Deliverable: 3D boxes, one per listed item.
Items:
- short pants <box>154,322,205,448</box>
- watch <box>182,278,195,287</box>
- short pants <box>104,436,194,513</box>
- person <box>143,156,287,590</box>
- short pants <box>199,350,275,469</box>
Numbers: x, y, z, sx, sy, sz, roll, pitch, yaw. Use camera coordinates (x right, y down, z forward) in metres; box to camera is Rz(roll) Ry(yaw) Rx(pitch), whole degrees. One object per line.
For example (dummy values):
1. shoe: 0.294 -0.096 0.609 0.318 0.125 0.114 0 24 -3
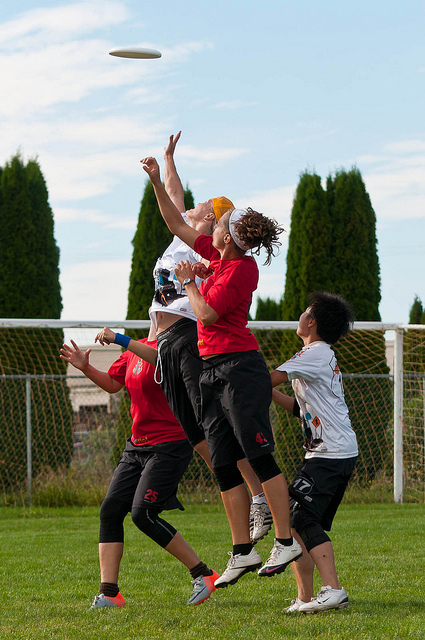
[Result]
1. short pants: -0.204 0.441 7.078 0.341 0.701 0.540 -3 -31 -14
2. watch: -0.152 -0.224 6.756 0.047 0.030 0.045 -7 -43 48
3. short pants: -0.440 1.028 7.166 0.527 0.359 0.419 -3 -1 30
4. person: 0.055 0.394 6.830 0.697 2.081 0.470 -3 -1 39
5. short pants: 0.145 0.563 6.806 0.483 0.577 0.278 -3 -1 42
